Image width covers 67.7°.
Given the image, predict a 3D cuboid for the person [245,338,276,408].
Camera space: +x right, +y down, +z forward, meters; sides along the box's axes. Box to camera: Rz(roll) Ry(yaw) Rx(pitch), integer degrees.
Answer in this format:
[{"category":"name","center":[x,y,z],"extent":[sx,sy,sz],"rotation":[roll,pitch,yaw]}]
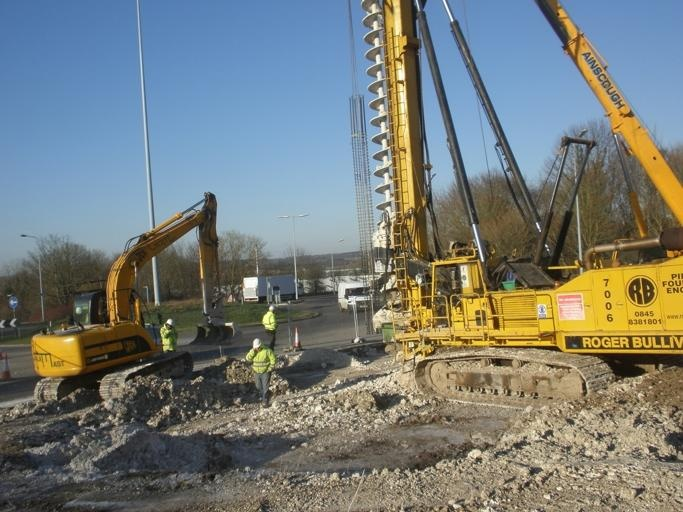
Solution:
[{"category":"person","center":[-2.035,2.923,12.838],"extent":[0.633,1.517,1.981],"rotation":[-3,-1,-11]}]

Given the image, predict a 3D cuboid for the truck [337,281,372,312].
[{"category":"truck","center":[0.779,2.904,35.622],"extent":[1.584,1.733,2.949],"rotation":[-1,3,-11]}]

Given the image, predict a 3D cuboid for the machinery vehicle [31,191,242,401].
[{"category":"machinery vehicle","center":[-6.024,1.232,15.908],"extent":[2.567,5.233,6.417],"rotation":[-7,2,27]}]

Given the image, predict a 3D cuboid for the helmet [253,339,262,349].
[{"category":"helmet","center":[-2.082,2.155,12.455],"extent":[0.238,0.201,0.360],"rotation":[-1,-11,2]}]
